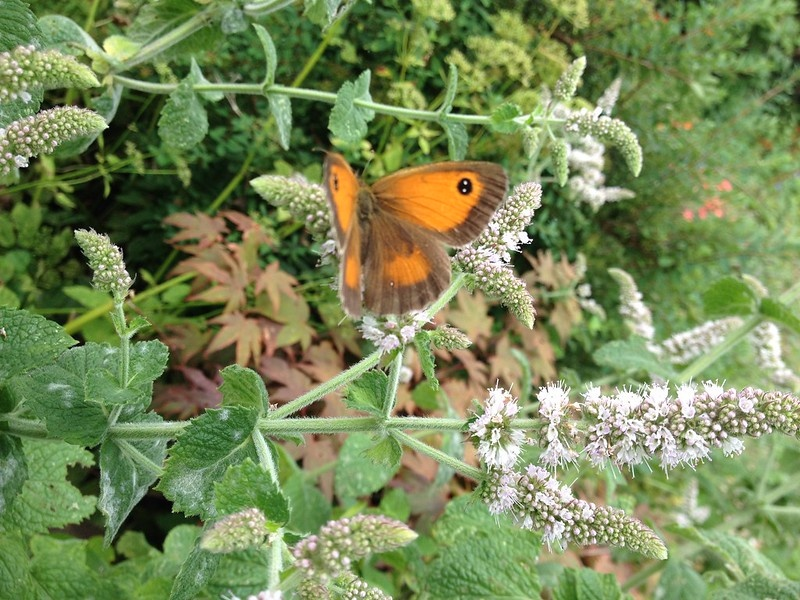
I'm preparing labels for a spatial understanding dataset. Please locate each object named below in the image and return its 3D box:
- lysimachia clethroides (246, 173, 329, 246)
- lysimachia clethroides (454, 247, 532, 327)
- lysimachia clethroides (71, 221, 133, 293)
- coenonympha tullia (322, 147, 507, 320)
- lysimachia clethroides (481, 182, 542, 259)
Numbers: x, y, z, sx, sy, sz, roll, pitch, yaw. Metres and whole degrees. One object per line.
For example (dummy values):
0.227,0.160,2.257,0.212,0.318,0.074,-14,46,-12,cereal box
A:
-0.293,-0.290,1.972,0.248,0.082,0.109,28,58,0,lysimachia clethroides
0.281,-0.053,1.963,0.291,0.090,0.095,45,60,10,lysimachia clethroides
-0.812,-0.122,1.905,0.157,0.161,0.175,5,95,18,lysimachia clethroides
0.010,-0.258,2.188,0.591,0.472,0.577,-5,23,-9,coenonympha tullia
0.336,-0.227,2.006,0.126,0.162,0.238,35,58,6,lysimachia clethroides
